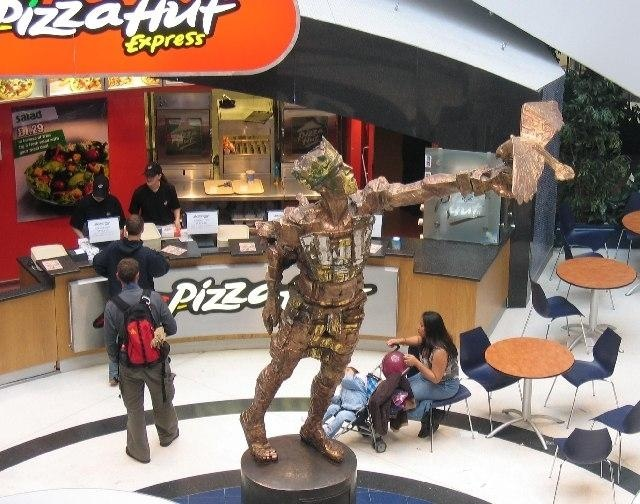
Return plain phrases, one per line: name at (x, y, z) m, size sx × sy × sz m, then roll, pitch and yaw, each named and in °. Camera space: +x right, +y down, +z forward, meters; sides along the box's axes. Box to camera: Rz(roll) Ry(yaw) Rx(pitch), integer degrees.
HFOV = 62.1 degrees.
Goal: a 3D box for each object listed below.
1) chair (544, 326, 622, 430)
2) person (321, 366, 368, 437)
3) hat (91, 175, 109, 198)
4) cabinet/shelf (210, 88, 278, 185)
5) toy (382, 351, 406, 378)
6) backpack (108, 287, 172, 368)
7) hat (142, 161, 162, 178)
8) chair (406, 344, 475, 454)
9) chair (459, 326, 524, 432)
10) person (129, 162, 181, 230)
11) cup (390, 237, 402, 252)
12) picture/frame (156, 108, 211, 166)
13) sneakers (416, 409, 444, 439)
chair at (3.013, 1.466, 6.062) m, size 0.624 × 0.977 × 0.592 m, roll -9°, pitch 29°, yaw -13°
person at (0.313, 1.443, 5.396) m, size 0.350 × 0.825 × 0.263 m, roll 24°, pitch -11°, yaw 15°
hat at (-3.130, -0.914, 7.557) m, size 0.204 × 0.328 × 0.277 m, roll -2°, pitch 9°, yaw -24°
cabinet/shelf at (-1.553, -2.255, 10.560) m, size 1.172 × 2.492 × 1.281 m, roll -3°, pitch 26°, yaw -10°
toy at (0.755, 1.140, 5.474) m, size 0.250 × 0.244 × 0.196 m, roll -8°, pitch -12°, yaw 39°
backpack at (-1.627, 0.680, 4.813) m, size 0.603 × 0.691 × 0.358 m, roll -1°, pitch 8°, yaw -18°
hat at (-2.521, -1.246, 8.006) m, size 0.178 × 0.162 × 0.262 m, roll 12°, pitch 15°, yaw 8°
chair at (1.220, 1.522, 5.793) m, size 0.731 × 1.339 × 0.877 m, roll -2°, pitch 7°, yaw -1°
chair at (1.893, 1.440, 5.884) m, size 0.555 × 1.017 × 0.664 m, roll -16°, pitch 28°, yaw -27°
person at (-2.599, -0.756, 8.310) m, size 0.770 × 1.200 × 0.583 m, roll -10°, pitch 30°, yaw -21°
cup at (1.062, -0.120, 7.386) m, size 0.148 × 0.180 × 0.107 m, roll -3°, pitch 0°, yaw -4°
picture/frame at (-2.748, -2.335, 10.524) m, size 1.280 × 1.382 × 0.093 m, roll -5°, pitch 13°, yaw -25°
sneakers at (1.149, 1.773, 5.541) m, size 0.096 × 0.220 × 0.303 m, roll 19°, pitch 56°, yaw 31°
